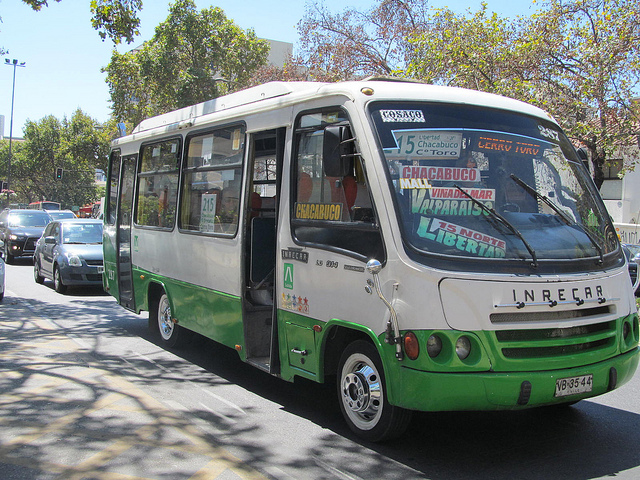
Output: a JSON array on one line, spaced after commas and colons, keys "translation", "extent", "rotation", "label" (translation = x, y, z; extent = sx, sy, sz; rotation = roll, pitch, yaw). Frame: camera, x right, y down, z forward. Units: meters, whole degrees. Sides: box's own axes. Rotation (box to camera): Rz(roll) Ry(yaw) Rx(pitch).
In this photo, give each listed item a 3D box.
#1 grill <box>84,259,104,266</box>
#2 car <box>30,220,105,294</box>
[{"translation": [-6.200, 0.612, 13.102], "extent": [0.420, 0.170, 0.134], "rotation": [0, 2, -29], "label": "grill"}, {"translation": [-7.582, 0.459, 14.307], "extent": [2.023, 1.645, 3.667], "rotation": [3, -3, -33], "label": "car"}]
